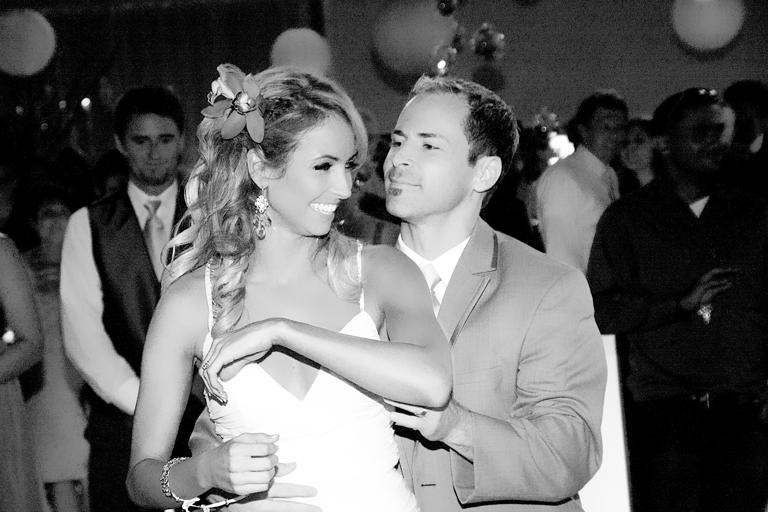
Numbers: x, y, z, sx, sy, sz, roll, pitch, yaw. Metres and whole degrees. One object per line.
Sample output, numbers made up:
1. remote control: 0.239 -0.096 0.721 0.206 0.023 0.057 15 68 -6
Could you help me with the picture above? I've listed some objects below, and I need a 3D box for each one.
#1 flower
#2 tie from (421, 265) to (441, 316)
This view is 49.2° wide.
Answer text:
1. flower: -0.620 -0.635 3.494 0.304 0.335 0.119 2 18 45
2. tie: 0.225 0.146 3.877 0.063 0.256 0.059 -16 -7 24
